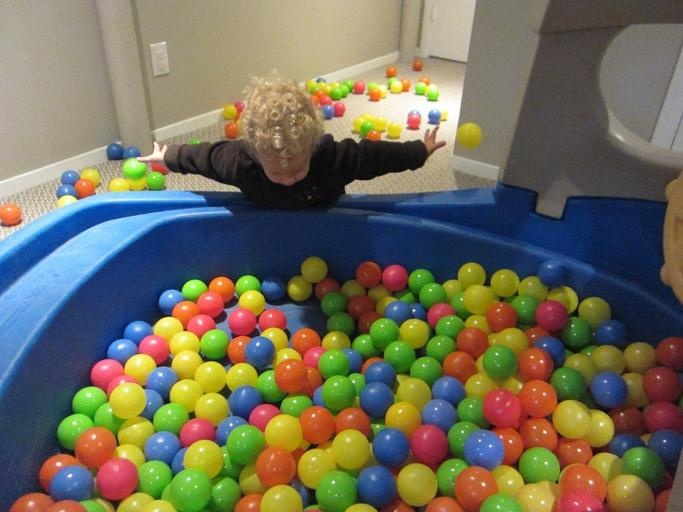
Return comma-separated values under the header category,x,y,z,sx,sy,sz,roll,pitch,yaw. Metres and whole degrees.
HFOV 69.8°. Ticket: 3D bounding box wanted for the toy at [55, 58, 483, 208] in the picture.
category,x,y,z,sx,sy,sz,roll,pitch,yaw
toy,-0.393,-0.543,2.165,0.916,0.265,1.061,7,33,19
